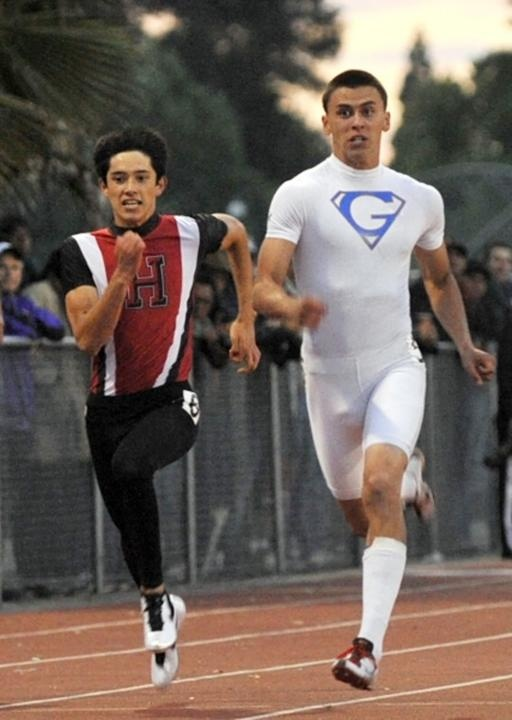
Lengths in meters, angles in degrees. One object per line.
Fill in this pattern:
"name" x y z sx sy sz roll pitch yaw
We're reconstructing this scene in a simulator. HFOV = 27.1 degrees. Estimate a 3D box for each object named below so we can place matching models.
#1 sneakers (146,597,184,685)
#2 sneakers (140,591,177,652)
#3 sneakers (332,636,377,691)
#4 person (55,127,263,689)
"sneakers" -0.275 0.844 3.128 0.110 0.269 0.128 -5 -2 4
"sneakers" -0.283 0.764 3.136 0.083 0.088 0.205 -8 38 3
"sneakers" 0.266 0.779 2.760 0.094 0.107 0.248 8 -19 24
"person" -0.303 0.227 3.363 0.654 1.890 0.940 -1 12 -6
